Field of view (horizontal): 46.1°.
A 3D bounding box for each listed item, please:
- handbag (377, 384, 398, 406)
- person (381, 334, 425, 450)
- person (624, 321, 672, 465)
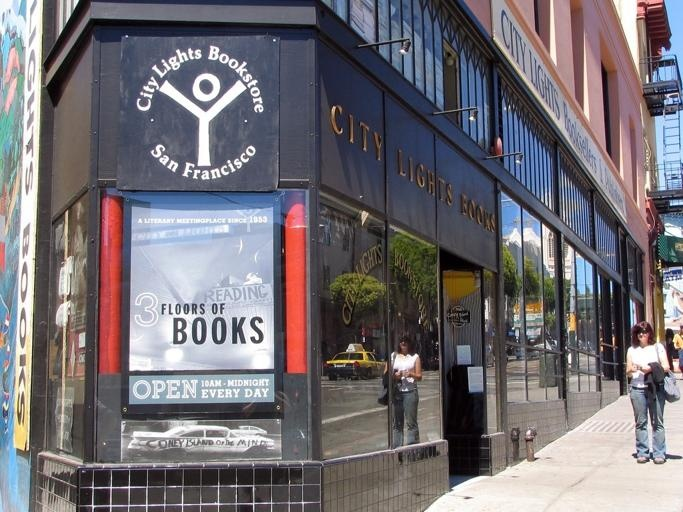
[{"bbox_3d":[0.559,1.613,9.703,0.165,0.396,0.261,10,-21,-4],"label":"handbag"},{"bbox_3d":[0.848,1.730,10.335,0.183,1.041,0.842,3,-2,23],"label":"person"},{"bbox_3d":[4.965,2.212,13.008,0.645,2.274,0.655,3,-2,24],"label":"person"}]
